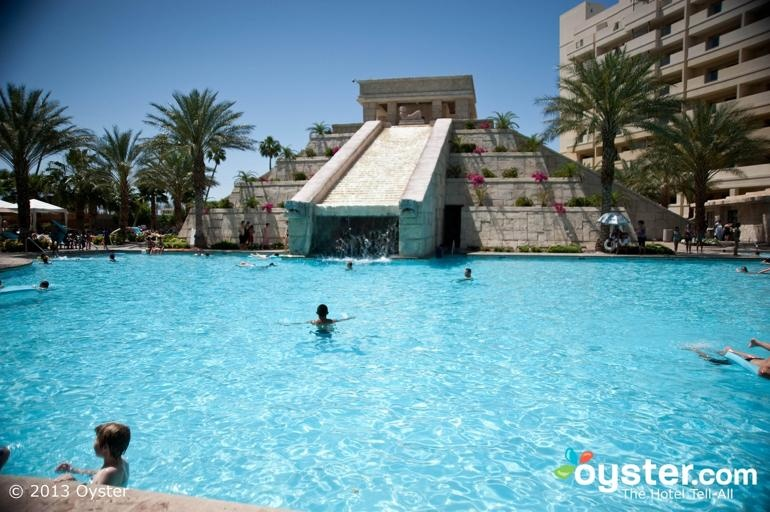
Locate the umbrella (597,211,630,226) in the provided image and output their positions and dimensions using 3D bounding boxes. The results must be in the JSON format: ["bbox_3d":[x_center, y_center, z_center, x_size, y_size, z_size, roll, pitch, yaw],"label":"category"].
[{"bbox_3d":[10.631,-1.729,22.845,1.053,0.340,1.021,-2,11,-4],"label":"umbrella"}]

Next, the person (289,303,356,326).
[{"bbox_3d":[-1.400,1.296,10.981,1.381,0.453,0.749,-3,1,-5],"label":"person"}]

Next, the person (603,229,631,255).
[{"bbox_3d":[11.125,-0.751,24.049,1.110,1.338,1.324,0,0,6],"label":"person"}]

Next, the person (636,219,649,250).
[{"bbox_3d":[12.314,-1.011,23.893,0.346,1.421,1.577,-2,2,26],"label":"person"}]
